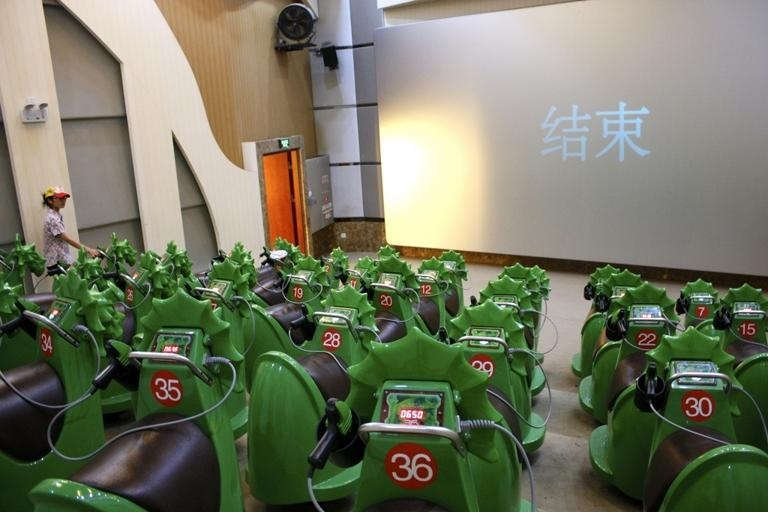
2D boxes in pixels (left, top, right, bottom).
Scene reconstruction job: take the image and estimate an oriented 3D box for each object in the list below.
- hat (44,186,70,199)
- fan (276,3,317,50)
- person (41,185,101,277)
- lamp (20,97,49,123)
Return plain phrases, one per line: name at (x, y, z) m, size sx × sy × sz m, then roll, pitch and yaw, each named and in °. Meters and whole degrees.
hat at (-3.718, -0.696, 5.566) m, size 0.232 × 0.122 × 0.164 m, roll -3°, pitch 2°, yaw 15°
fan at (-1.543, -4.022, 8.829) m, size 0.731 × 0.961 × 0.779 m, roll 1°, pitch 11°, yaw 4°
person at (-3.623, -0.329, 5.623) m, size 0.486 × 0.920 × 0.957 m, roll -7°, pitch 11°, yaw -37°
lamp at (-3.969, -1.666, 5.569) m, size 0.050 × 0.268 × 0.257 m, roll 4°, pitch 10°, yaw 28°
